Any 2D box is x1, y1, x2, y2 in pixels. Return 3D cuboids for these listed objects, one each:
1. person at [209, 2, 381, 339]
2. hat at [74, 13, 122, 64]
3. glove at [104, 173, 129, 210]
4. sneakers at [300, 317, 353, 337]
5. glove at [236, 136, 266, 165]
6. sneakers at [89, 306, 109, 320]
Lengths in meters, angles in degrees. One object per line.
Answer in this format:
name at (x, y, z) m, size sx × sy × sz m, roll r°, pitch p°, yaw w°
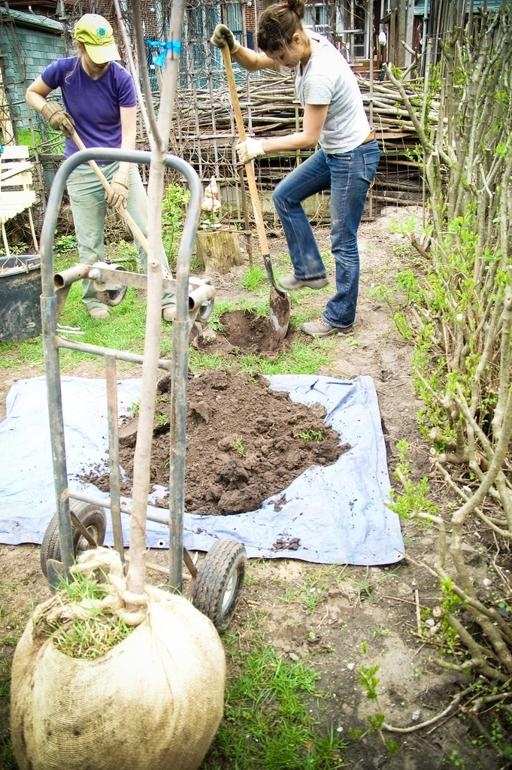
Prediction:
person at (0.340, -1.301, 4.283) m, size 0.951 × 2.065 × 0.804 m, roll -7°, pitch 23°, yaw -8°
hat at (-0.950, -2.042, 3.855) m, size 0.232 × 0.276 × 0.255 m, roll -8°, pitch 22°, yaw -11°
glove at (-0.800, -1.138, 3.750) m, size 0.174 × 0.253 × 0.104 m, roll -3°, pitch -11°, yaw -7°
sneakers at (0.508, -0.405, 4.665) m, size 0.337 × 0.146 × 0.142 m, roll 3°, pitch 29°, yaw -2°
glove at (-0.032, -1.506, 4.215) m, size 0.188 × 0.095 × 0.224 m, roll -16°, pitch 9°, yaw -1°
sneakers at (-1.244, -0.575, 5.205) m, size 0.139 × 0.098 × 0.065 m, roll 15°, pitch -17°, yaw -20°
